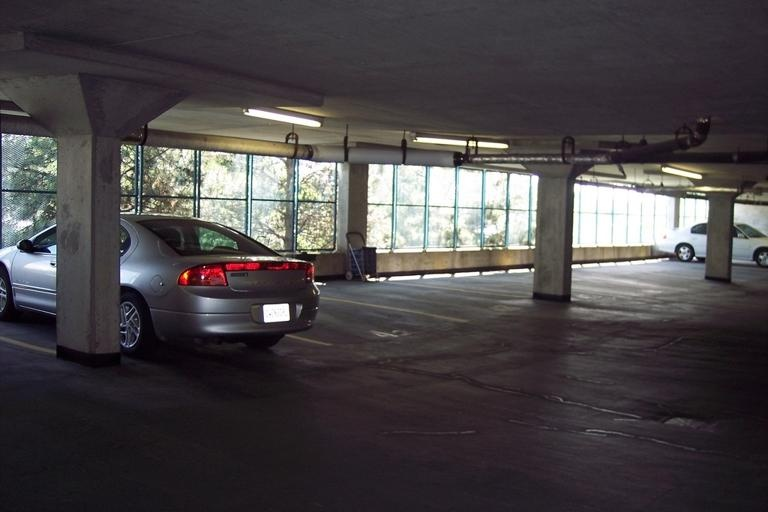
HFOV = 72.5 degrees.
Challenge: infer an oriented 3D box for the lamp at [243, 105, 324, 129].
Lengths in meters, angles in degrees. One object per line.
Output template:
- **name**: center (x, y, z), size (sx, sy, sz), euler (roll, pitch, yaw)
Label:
- **lamp**: center (-1.959, -2.788, 10.286), size (0.556, 0.235, 1.931), euler (4, 4, 34)

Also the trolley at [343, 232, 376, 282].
- **trolley**: center (-0.884, 0.042, 18.952), size (1.073, 1.729, 1.031), euler (0, -5, 12)

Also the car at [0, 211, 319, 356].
- **car**: center (-4.093, 0.393, 8.764), size (6.241, 2.177, 2.070), euler (3, 4, 27)
